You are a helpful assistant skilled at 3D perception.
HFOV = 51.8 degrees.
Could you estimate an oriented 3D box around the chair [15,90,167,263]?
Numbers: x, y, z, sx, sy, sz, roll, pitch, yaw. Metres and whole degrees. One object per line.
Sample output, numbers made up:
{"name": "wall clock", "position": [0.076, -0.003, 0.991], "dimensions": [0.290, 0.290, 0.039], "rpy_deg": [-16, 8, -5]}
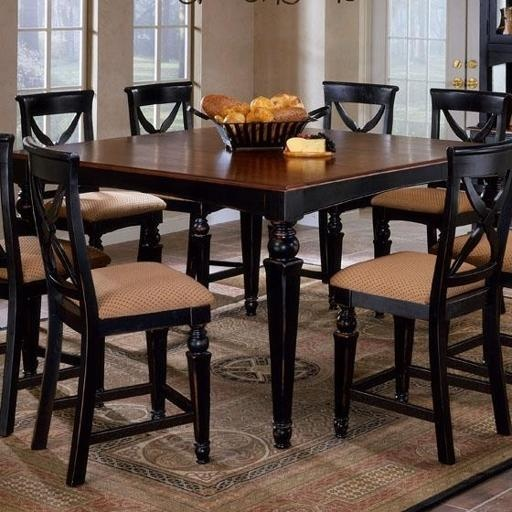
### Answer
{"name": "chair", "position": [-0.702, -0.375, 2.925], "dimensions": [0.791, 1.033, 0.651], "rpy_deg": [2, 32, -12]}

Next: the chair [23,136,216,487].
{"name": "chair", "position": [-0.379, 0.151, 1.523], "dimensions": [0.548, 0.801, 0.549], "rpy_deg": [2, 4, 30]}

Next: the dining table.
{"name": "dining table", "position": [-0.132, 0.117, 2.129], "dimensions": [1.419, 0.722, 1.435], "rpy_deg": [9, 14, 38]}
